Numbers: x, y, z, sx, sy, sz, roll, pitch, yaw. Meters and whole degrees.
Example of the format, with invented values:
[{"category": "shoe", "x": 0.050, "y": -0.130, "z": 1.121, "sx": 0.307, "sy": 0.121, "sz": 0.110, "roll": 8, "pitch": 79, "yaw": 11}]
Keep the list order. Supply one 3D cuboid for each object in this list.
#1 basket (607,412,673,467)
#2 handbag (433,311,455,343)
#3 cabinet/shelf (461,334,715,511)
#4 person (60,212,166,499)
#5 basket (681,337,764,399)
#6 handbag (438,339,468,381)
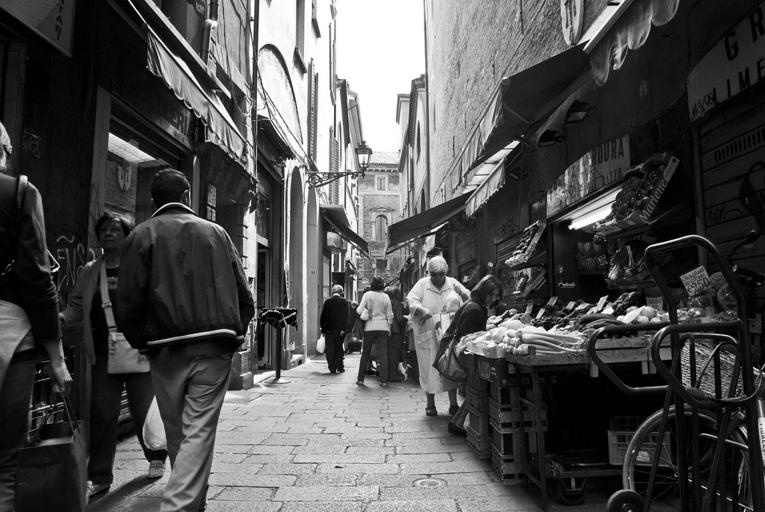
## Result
[{"category": "basket", "x": 2.166, "y": 1.582, "z": 5.680, "sx": 0.566, "sy": 0.404, "sz": 0.612, "roll": -1, "pitch": -11, "yaw": 5}, {"category": "handbag", "x": 0.849, "y": 0.949, "z": 9.335, "sx": 0.368, "sy": 0.431, "sz": 0.121, "roll": 3, "pitch": -15, "yaw": -6}, {"category": "cabinet/shelf", "x": 1.824, "y": 1.492, "z": 5.959, "sx": 1.320, "sy": 0.953, "sz": 1.437, "roll": -1, "pitch": -5, "yaw": -1}, {"category": "person", "x": -2.482, "y": 0.940, "z": 6.172, "sx": 0.886, "sy": 2.606, "sz": 0.920, "roll": -2, "pitch": 17, "yaw": -23}, {"category": "basket", "x": 2.422, "y": 0.805, "z": 4.773, "sx": 0.463, "sy": 0.230, "sz": 0.403, "roll": 5, "pitch": -9, "yaw": -9}, {"category": "handbag", "x": 0.821, "y": 1.269, "z": 7.911, "sx": 0.325, "sy": 0.676, "sz": 0.637, "roll": 2, "pitch": -16, "yaw": 3}]
